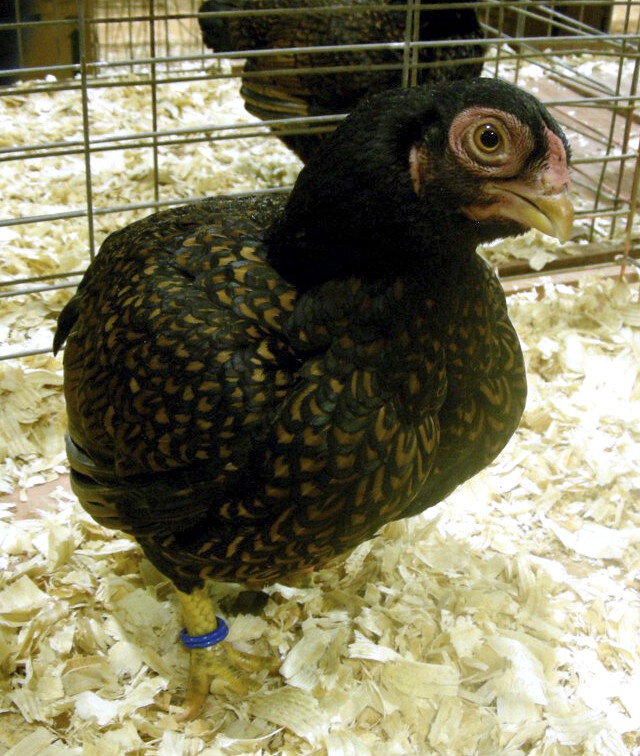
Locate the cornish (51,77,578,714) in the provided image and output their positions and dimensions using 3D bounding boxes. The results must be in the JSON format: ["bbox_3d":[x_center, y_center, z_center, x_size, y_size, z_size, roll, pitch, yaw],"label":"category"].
[{"bbox_3d":[0.024,0.013,1.724,0.973,1.132,1.113,-15,22,-26],"label":"cornish"}]
